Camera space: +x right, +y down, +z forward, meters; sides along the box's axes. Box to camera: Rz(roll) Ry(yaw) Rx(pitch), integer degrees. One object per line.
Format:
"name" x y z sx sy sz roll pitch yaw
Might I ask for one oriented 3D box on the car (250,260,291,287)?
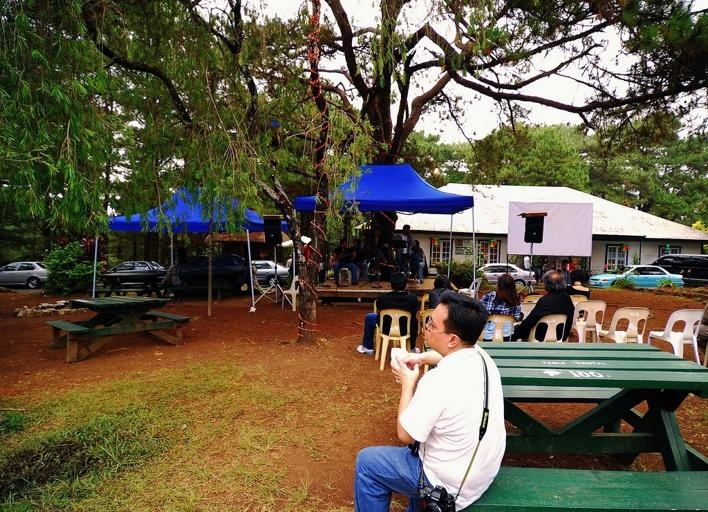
"car" -3.643 0.759 19.195 2.376 0.844 1.049 2 0 -4

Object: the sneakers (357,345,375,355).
"sneakers" 0.178 1.562 7.816 0.263 0.122 0.111 11 12 37

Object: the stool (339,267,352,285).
"stool" -0.269 0.582 12.882 0.354 0.477 0.370 0 -7 -4

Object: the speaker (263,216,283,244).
"speaker" -1.924 -0.615 11.116 0.396 0.716 0.718 1 0 -11

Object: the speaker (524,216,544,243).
"speaker" 4.934 -0.739 13.015 0.627 1.020 0.663 2 1 18

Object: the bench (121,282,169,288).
"bench" -6.400 0.883 14.123 1.374 0.191 0.628 1 -1 37

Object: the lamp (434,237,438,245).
"lamp" 4.046 -0.690 23.184 0.243 0.349 0.244 1 -6 -24

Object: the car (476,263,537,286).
"car" 5.305 0.651 16.527 1.973 0.704 0.882 -1 -2 3
